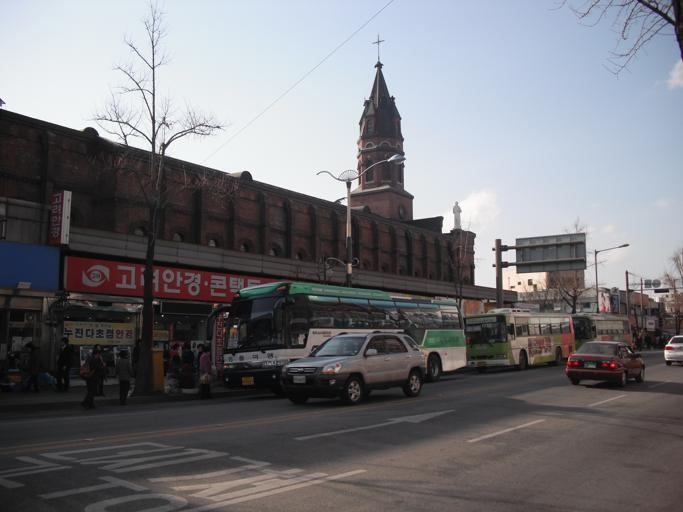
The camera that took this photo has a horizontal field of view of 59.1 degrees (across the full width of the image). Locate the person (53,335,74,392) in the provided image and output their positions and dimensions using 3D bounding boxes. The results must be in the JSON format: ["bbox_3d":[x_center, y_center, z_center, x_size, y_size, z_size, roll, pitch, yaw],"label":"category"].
[{"bbox_3d":[-11.107,4.349,24.139,0.478,2.166,1.324,3,-12,-26],"label":"person"}]

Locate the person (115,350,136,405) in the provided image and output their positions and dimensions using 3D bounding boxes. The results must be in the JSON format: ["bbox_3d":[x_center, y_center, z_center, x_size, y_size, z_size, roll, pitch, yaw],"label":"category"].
[{"bbox_3d":[-7.644,4.257,21.150,0.431,1.894,1.416,2,-11,-21],"label":"person"}]

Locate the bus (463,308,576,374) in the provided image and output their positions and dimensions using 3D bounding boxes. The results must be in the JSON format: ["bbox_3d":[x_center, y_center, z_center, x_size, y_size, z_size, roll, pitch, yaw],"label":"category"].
[{"bbox_3d":[10.871,5.247,37.032,3.054,3.535,9.924,-9,-14,36],"label":"bus"}]

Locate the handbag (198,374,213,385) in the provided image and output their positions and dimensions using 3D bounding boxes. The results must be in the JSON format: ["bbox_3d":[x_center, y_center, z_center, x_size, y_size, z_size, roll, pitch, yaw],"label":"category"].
[{"bbox_3d":[-5.144,4.672,22.714,0.349,0.378,0.347,6,-10,-44],"label":"handbag"}]

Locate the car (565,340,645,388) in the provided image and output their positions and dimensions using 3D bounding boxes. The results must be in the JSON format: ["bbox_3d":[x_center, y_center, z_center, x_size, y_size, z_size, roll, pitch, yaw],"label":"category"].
[{"bbox_3d":[10.327,4.081,23.050,1.512,1.168,3.275,-5,-8,39],"label":"car"}]

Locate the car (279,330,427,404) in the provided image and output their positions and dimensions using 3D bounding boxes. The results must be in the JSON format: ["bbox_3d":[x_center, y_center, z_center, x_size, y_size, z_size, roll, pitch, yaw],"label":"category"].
[{"bbox_3d":[0.561,3.493,18.589,2.005,1.837,4.047,-11,-16,37],"label":"car"}]

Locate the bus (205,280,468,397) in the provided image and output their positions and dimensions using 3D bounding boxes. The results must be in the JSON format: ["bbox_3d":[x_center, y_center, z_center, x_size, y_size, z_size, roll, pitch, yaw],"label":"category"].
[{"bbox_3d":[0.077,4.100,26.901,4.430,5.186,15.699,-12,-18,41],"label":"bus"}]

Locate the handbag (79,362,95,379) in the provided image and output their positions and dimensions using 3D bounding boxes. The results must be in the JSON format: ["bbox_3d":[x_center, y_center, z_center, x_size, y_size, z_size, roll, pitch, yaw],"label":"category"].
[{"bbox_3d":[-8.327,3.767,19.717,0.223,0.518,0.647,7,-15,-42],"label":"handbag"}]
